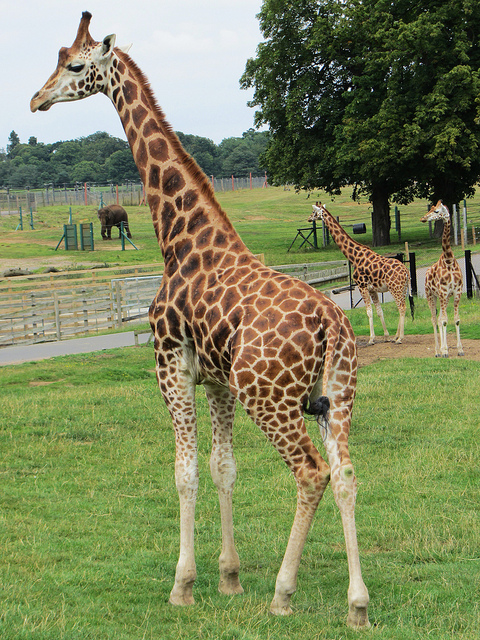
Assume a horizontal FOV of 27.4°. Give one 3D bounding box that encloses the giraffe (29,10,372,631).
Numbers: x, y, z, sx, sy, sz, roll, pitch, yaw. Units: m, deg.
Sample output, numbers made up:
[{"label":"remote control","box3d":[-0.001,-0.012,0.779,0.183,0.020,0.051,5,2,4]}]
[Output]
[{"label":"giraffe","box3d":[-0.168,-0.094,6.875,0.901,4.167,2.485,-6,4,-37]}]
